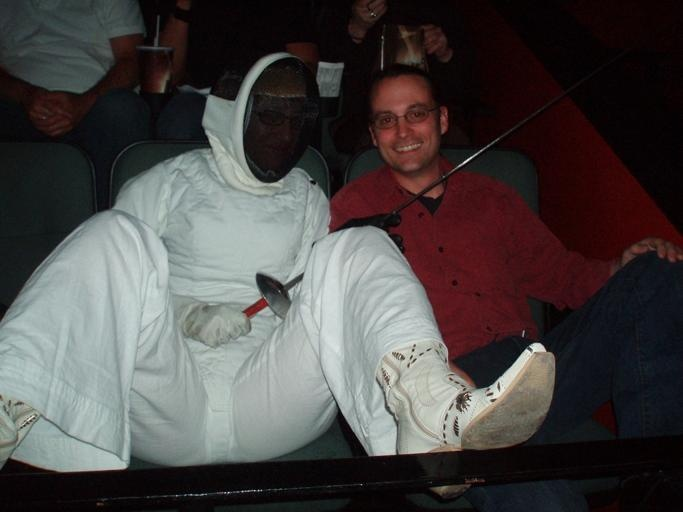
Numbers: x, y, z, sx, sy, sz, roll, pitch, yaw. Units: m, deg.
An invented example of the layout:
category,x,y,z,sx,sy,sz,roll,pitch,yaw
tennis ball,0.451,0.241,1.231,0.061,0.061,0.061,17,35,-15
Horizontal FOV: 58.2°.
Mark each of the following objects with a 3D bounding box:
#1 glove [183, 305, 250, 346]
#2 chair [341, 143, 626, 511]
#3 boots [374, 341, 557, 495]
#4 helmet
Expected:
category,x,y,z,sx,sy,sz,roll,pitch,yaw
glove,-0.338,0.185,1.642,0.146,0.111,0.060,3,-31,17
chair,0.209,0.228,1.949,0.822,0.973,0.829,1,-18,-13
boots,0.235,0.326,1.192,0.137,0.329,0.236,41,3,-41
helmet,-0.274,-0.395,1.954,0.312,0.434,0.408,7,0,-32
